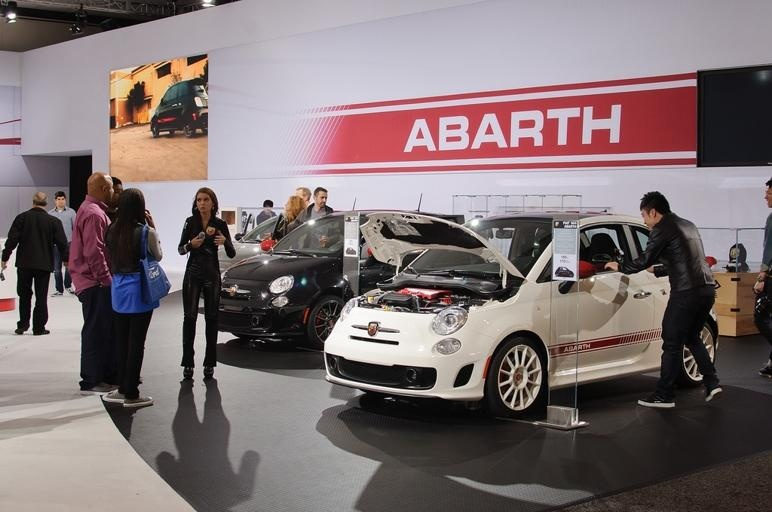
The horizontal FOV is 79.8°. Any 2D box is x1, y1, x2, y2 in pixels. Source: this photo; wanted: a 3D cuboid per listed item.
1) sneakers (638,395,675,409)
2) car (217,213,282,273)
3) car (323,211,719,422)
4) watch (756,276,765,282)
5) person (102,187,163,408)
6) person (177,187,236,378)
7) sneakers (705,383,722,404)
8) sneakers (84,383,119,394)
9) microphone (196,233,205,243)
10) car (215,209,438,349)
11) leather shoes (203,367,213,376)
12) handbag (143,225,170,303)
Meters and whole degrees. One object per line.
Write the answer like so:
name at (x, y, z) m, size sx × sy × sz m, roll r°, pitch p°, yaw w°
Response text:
sneakers at (2.924, 1.566, 5.045) m, size 0.367 × 0.148 × 0.153 m, roll 4°, pitch 0°, yaw 19°
car at (-3.346, -0.365, 11.421) m, size 1.958 × 0.998 × 1.142 m, roll -13°, pitch 5°, yaw -12°
car at (1.481, 0.621, 5.203) m, size 3.812 × 1.674 × 2.122 m, roll 1°, pitch -2°, yaw -33°
watch at (4.950, 0.301, 6.109) m, size 0.056 × 0.058 × 0.075 m, roll 0°, pitch -16°, yaw 25°
person at (-2.689, 0.448, 4.954) m, size 0.607 × 2.317 × 0.266 m, roll -1°, pitch 5°, yaw 9°
person at (-2.350, 0.333, 6.003) m, size 0.686 × 2.411 × 0.551 m, roll -5°, pitch 5°, yaw -35°
sneakers at (3.647, 1.516, 5.156) m, size 0.120 × 0.142 × 0.334 m, roll -15°, pitch -11°, yaw 11°
sneakers at (-3.385, 1.568, 5.498) m, size 0.338 × 0.124 × 0.124 m, roll -2°, pitch 3°, yaw -11°
microphone at (-2.278, -0.231, 5.715) m, size 0.021 × 0.086 × 0.085 m, roll 38°, pitch -13°, yaw -36°
car at (-0.957, 0.265, 7.436) m, size 3.073 × 1.446 × 1.686 m, roll -1°, pitch 0°, yaw -37°
leather shoes at (-2.275, 1.486, 5.998) m, size 0.097 × 0.107 × 0.113 m, roll 7°, pitch -11°, yaw 1°
handbag at (-2.487, 0.122, 5.012) m, size 0.238 × 0.910 × 0.405 m, roll -3°, pitch 5°, yaw -19°
